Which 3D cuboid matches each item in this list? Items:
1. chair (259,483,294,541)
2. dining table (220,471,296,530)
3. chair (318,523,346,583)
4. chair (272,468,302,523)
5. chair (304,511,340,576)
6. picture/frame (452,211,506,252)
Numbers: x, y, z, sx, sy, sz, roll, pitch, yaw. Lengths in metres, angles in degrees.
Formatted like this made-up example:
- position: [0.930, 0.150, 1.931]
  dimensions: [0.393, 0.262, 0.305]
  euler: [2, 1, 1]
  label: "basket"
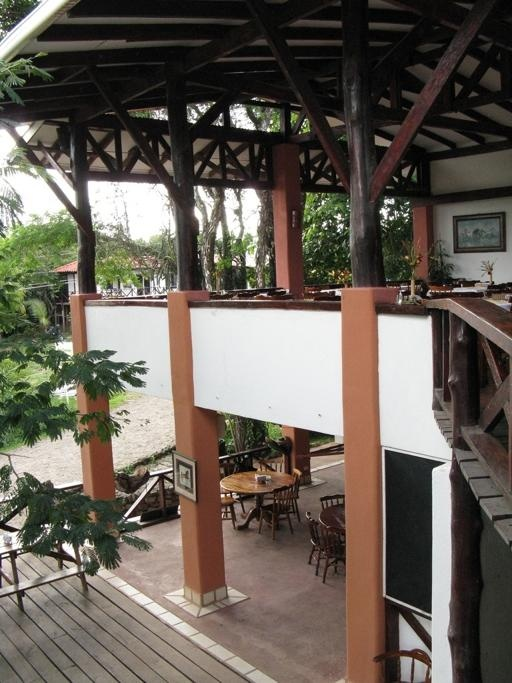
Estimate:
- position: [0.343, 2.836, 9.303]
  dimensions: [0.523, 0.839, 0.547]
  euler: [1, -3, -27]
  label: "chair"
- position: [0.031, 2.641, 9.375]
  dimensions: [1.050, 0.635, 1.019]
  euler: [-8, 12, -41]
  label: "dining table"
- position: [1.117, 2.927, 7.622]
  dimensions: [0.482, 0.681, 0.487]
  euler: [7, -14, 6]
  label: "chair"
- position: [0.700, 2.655, 9.801]
  dimensions: [0.583, 0.931, 0.532]
  euler: [1, 2, -16]
  label: "chair"
- position: [0.938, 2.876, 7.827]
  dimensions: [0.414, 0.587, 0.468]
  euler: [3, 10, 16]
  label: "chair"
- position: [4.880, -2.396, 11.920]
  dimensions: [0.065, 0.737, 0.942]
  euler: [-11, 15, -38]
  label: "picture/frame"
